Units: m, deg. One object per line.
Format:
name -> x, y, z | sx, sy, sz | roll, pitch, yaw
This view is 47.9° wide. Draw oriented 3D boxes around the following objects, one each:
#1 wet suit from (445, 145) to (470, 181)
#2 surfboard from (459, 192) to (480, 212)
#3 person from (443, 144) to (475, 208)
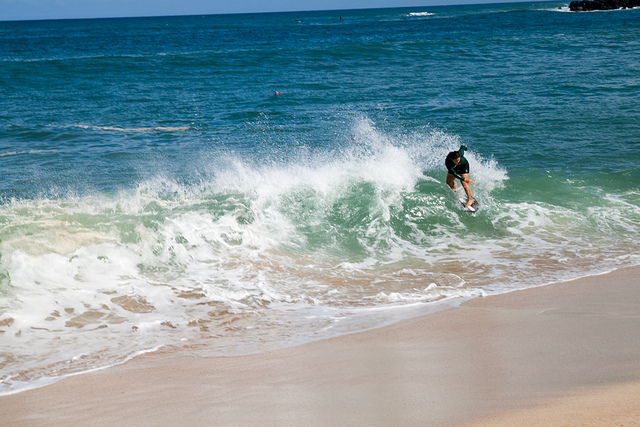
wet suit -> 4.007, -1.480, 21.169 | 0.648, 1.023, 0.468 | 2, 26, 21
surfboard -> 4.337, -0.258, 21.238 | 0.378, 0.115, 0.641 | -33, 27, -9
person -> 4.137, -1.150, 21.289 | 0.701, 1.786, 1.255 | -7, 22, 2
